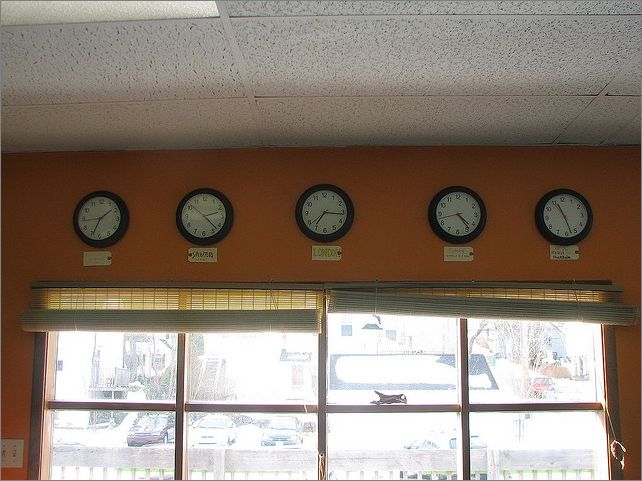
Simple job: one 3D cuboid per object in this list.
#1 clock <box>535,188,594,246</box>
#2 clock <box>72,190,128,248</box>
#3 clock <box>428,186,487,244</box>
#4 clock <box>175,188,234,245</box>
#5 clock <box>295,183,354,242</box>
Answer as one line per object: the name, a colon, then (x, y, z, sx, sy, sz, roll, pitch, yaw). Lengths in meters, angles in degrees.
clock: (1.900, -0.186, 6.041, 0.456, 0.436, 0.051, 9, 21, 41)
clock: (-1.735, -0.175, 6.126, 0.466, 0.434, 0.059, -4, -7, 9)
clock: (1.069, -0.197, 6.051, 0.467, 0.432, 0.047, 4, 9, 29)
clock: (-0.917, -0.181, 6.086, 0.464, 0.436, 0.051, 1, 5, -30)
clock: (0.028, -0.194, 6.047, 0.470, 0.444, 0.067, -1, -10, -1)
